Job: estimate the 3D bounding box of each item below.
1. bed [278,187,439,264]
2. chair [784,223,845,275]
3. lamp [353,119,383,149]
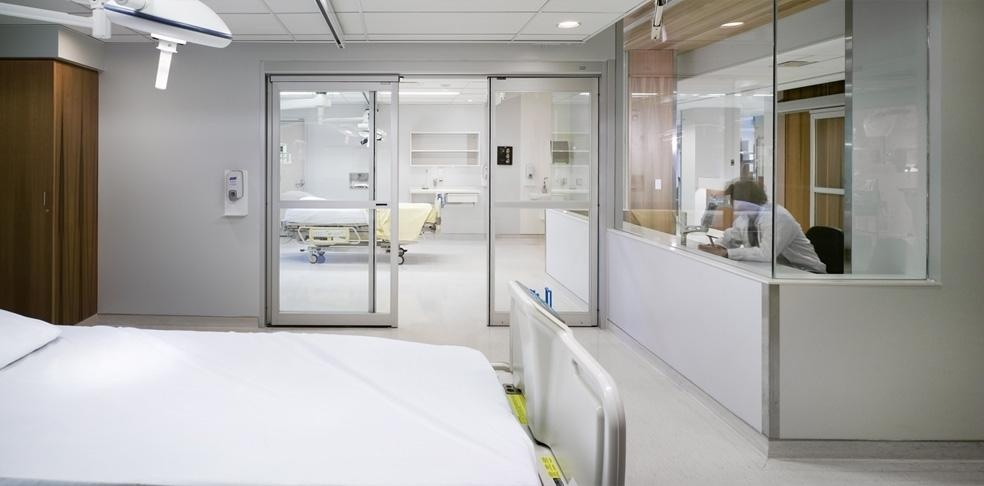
[{"bbox_3d":[-1.854,-0.233,7.963,1.745,0.632,0.874,-1,6,-5],"label":"bed"},{"bbox_3d":[2.895,0.069,5.445,0.434,0.492,0.478,0,0,18],"label":"chair"},{"bbox_3d":[-1.562,-1.402,7.658,0.366,0.311,0.137,3,3,-4],"label":"lamp"}]
